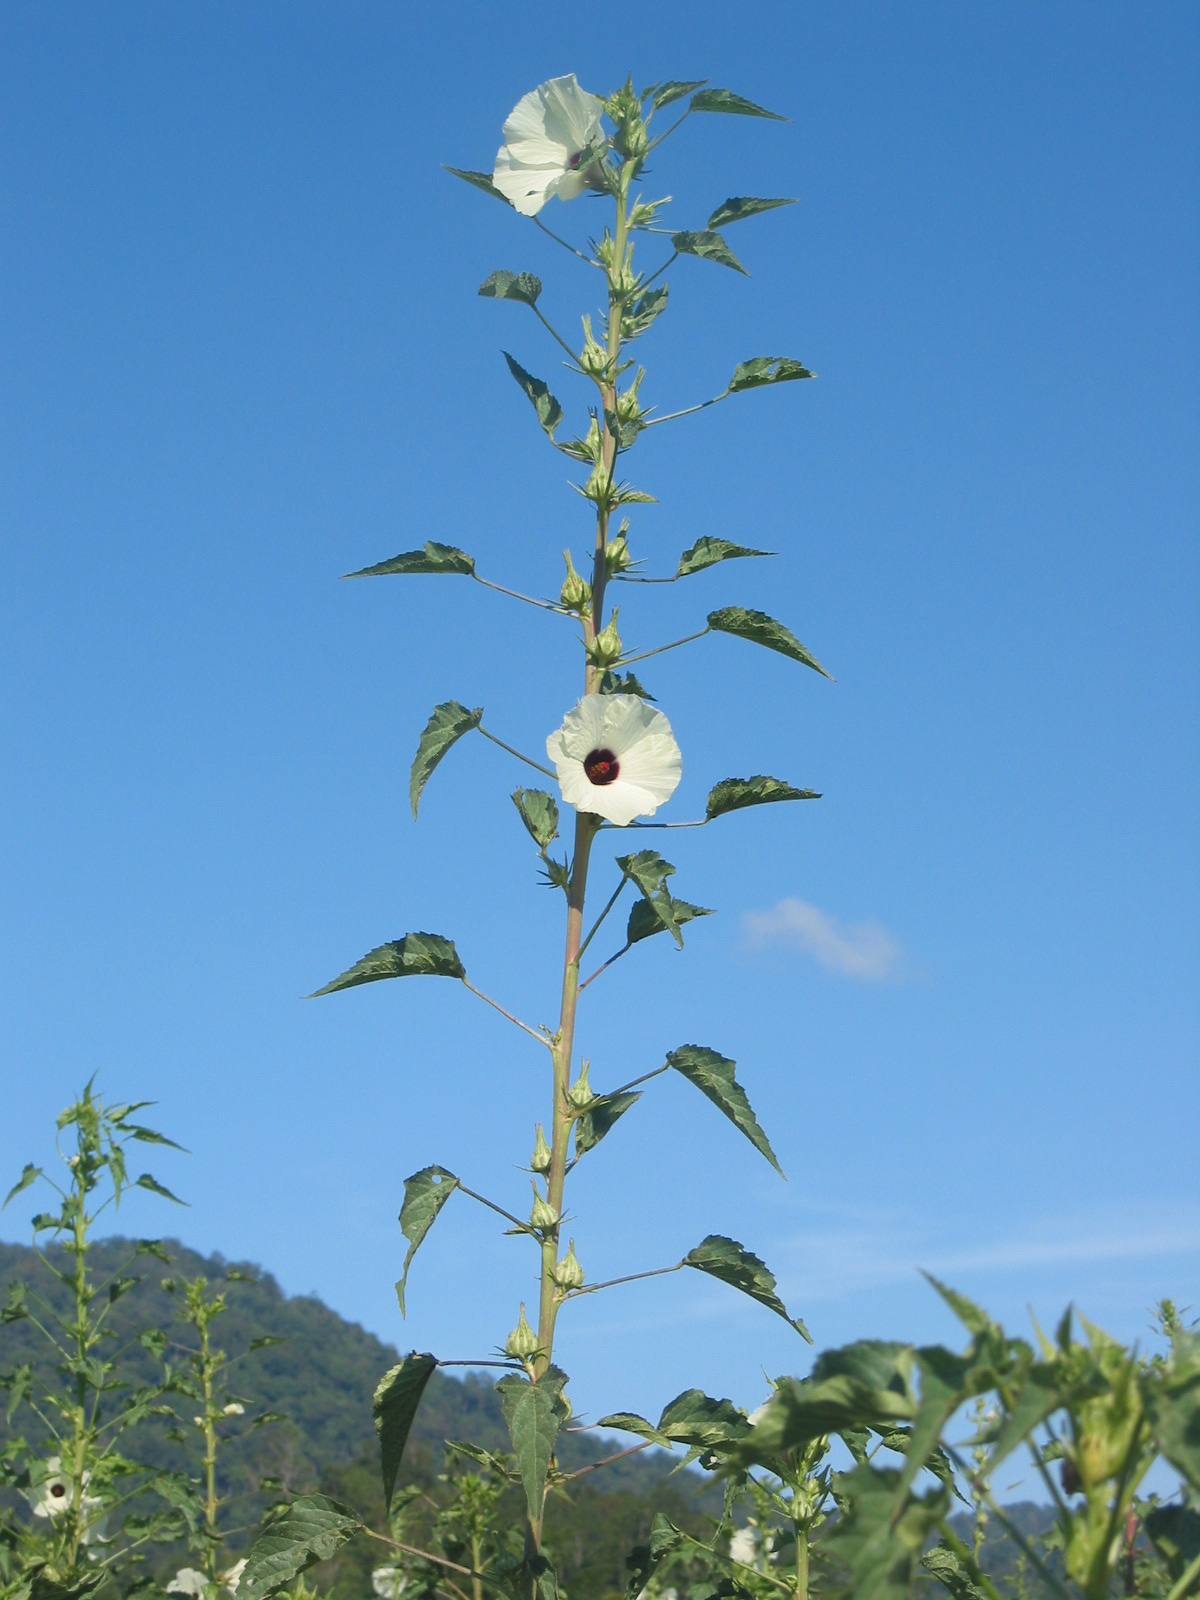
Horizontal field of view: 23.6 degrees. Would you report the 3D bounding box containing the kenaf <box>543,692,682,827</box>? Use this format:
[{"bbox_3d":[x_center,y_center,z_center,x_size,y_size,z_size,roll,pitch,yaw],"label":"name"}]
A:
[{"bbox_3d":[0.035,-0.188,12.590,0.521,0.516,0.513,-9,-38,8],"label":"kenaf"}]
